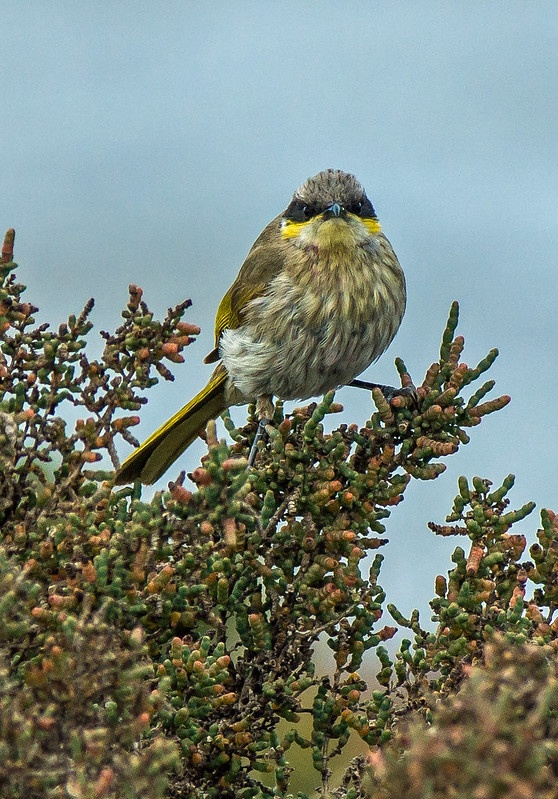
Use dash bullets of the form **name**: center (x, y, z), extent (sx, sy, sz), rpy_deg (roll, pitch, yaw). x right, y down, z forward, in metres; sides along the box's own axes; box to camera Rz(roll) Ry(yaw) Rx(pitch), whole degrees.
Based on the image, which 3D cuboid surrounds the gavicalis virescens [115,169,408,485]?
- **gavicalis virescens**: center (-0.060, -0.232, 5.122), extent (0.572, 1.220, 1.098), rpy_deg (-7, 17, -38)
